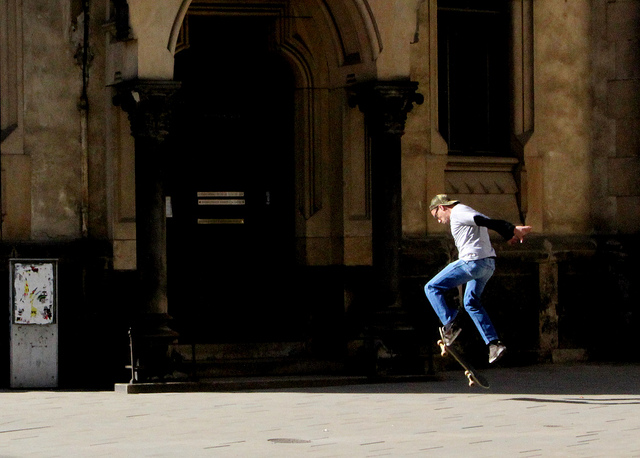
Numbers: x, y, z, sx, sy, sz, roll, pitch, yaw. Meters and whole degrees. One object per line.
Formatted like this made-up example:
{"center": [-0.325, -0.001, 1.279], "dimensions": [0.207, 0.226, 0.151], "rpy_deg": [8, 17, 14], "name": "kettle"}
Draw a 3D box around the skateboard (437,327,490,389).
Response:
{"center": [1.889, 1.726, 20.306], "dimensions": [0.982, 0.139, 0.262], "rpy_deg": [45, 21, 29], "name": "skateboard"}
